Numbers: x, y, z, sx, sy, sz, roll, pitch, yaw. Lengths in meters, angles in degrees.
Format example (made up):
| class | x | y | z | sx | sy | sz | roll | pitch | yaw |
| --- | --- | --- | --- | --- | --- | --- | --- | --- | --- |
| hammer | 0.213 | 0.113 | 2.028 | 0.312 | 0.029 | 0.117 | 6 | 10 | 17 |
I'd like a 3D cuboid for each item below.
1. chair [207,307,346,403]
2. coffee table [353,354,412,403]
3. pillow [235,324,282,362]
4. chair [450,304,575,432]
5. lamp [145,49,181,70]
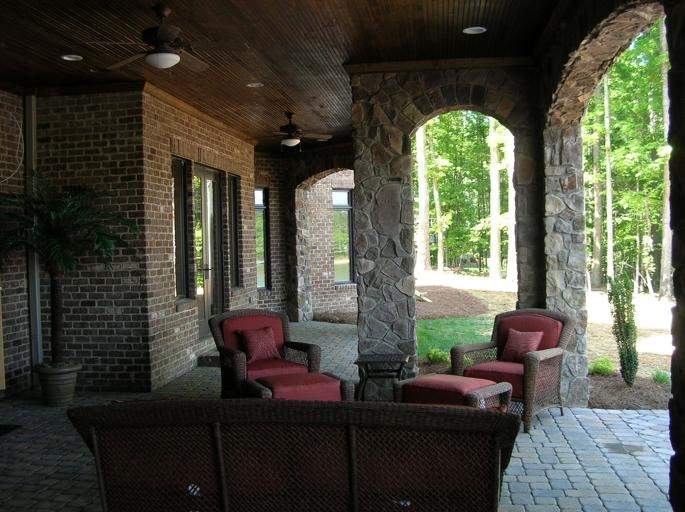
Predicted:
| class | x | y | z | sx | sy | sz | roll | pitch | yaw |
| --- | --- | --- | --- | --- | --- | --- | --- | --- | --- |
| chair | -0.739 | 1.130 | 5.872 | 1.494 | 1.041 | 1.451 | 0 | -1 | -37 |
| coffee table | 0.433 | 1.448 | 6.527 | 0.793 | 0.571 | 0.665 | 3 | 3 | 22 |
| pillow | -0.961 | 1.007 | 6.262 | 0.491 | 0.351 | 0.120 | 0 | -37 | -23 |
| chair | 1.812 | 1.177 | 6.287 | 1.570 | 1.069 | 1.411 | 0 | -1 | -41 |
| lamp | -1.616 | -1.762 | 4.902 | 0.279 | 0.102 | 0.261 | -1 | -2 | -5 |
